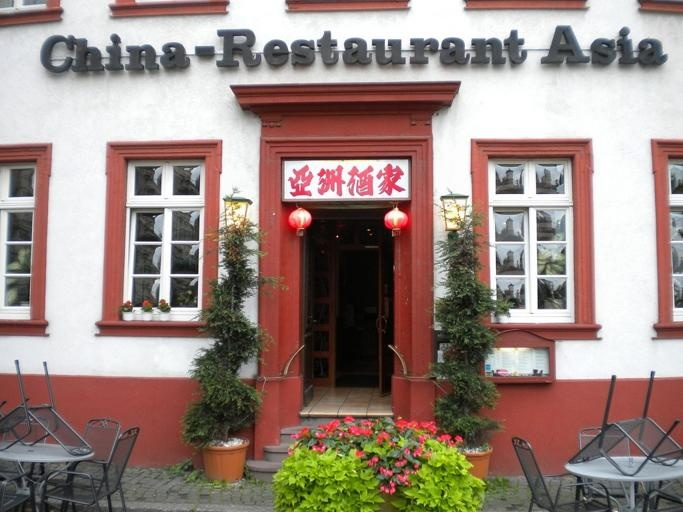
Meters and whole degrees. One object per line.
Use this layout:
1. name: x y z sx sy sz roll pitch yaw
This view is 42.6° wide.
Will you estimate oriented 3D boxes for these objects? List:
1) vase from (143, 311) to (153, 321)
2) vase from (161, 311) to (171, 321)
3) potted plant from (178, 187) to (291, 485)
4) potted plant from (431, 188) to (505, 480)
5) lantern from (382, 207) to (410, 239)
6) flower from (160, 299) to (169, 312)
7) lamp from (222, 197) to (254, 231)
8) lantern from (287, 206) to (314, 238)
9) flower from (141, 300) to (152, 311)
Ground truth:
1. vase: -2.645 0.825 11.887 0.113 0.080 0.110 1 -2 -13
2. vase: -2.395 0.828 11.961 0.092 0.112 0.194 -3 -7 33
3. potted plant: -1.478 1.056 11.399 1.050 3.672 0.621 2 -7 -9
4. potted plant: 1.598 0.999 11.255 0.888 3.605 0.623 1 -7 6
5. lantern: 0.687 -0.470 11.781 0.395 0.419 0.356 0 2 -27
6. flower: -2.431 0.679 11.987 0.174 0.178 0.161 3 -6 -14
7. lamp: -1.367 -0.584 11.649 0.481 0.472 0.474 3 1 -22
8. lantern: -0.578 -0.486 11.975 0.377 0.441 0.379 0 1 28
9. flower: -2.673 0.683 11.963 0.135 0.113 0.132 -2 4 -13
